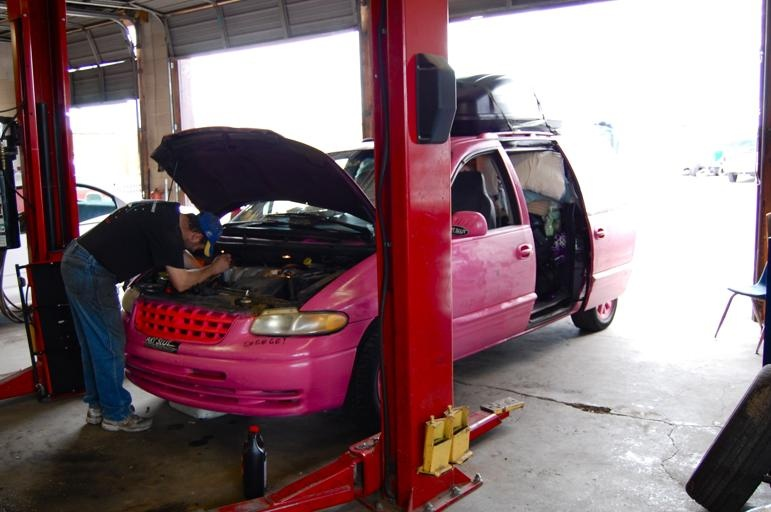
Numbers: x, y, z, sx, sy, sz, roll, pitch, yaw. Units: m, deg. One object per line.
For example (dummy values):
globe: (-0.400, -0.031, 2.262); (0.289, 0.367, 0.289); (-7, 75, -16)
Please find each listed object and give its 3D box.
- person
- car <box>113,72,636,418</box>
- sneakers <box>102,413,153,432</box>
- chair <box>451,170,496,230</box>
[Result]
person: (-2.002, 0.477, 4.691); (1.200, 1.803, 0.565); (-11, 19, -21)
car: (0.266, -0.091, 5.611); (4.901, 2.033, 2.669); (-9, 9, -40)
sneakers: (-2.096, 1.382, 4.659); (0.373, 0.159, 0.154); (-3, 10, -12)
chair: (0.837, -0.504, 5.386); (0.444, 0.599, 0.526); (-2, -13, 21)
